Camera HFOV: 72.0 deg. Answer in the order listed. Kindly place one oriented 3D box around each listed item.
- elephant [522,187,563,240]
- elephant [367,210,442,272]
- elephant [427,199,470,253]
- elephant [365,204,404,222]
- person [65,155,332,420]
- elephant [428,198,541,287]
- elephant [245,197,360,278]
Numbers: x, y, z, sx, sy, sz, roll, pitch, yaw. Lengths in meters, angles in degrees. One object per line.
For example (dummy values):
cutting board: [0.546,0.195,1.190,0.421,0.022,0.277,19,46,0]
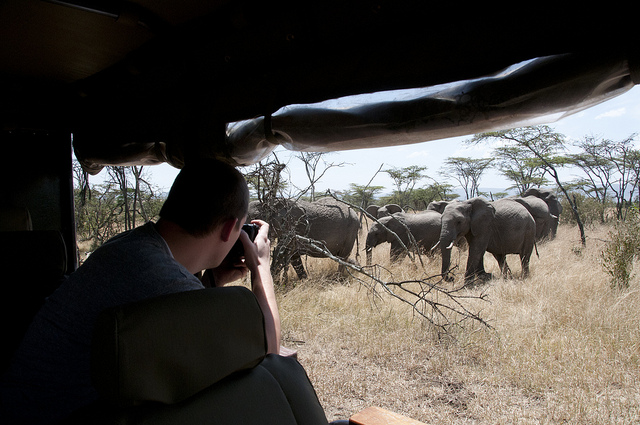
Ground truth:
elephant: [8.055,0.144,15.831,1.905,1.268,0.913,10,-13,-37]
elephant: [2.475,0.921,12.822,2.748,1.701,1.342,-3,7,3]
elephant: [3.898,0.177,14.089,1.875,1.065,0.907,2,4,20]
elephant: [2.109,-0.040,14.711,0.941,0.668,1.132,-2,-8,40]
person: [-0.623,0.326,2.011,0.983,1.085,0.883,-6,12,-21]
elephant: [4.343,0.742,11.195,3.215,2.029,1.281,1,-3,-24]
elephant: [-0.145,0.486,10.578,1.244,2.013,4.408,3,12,20]
